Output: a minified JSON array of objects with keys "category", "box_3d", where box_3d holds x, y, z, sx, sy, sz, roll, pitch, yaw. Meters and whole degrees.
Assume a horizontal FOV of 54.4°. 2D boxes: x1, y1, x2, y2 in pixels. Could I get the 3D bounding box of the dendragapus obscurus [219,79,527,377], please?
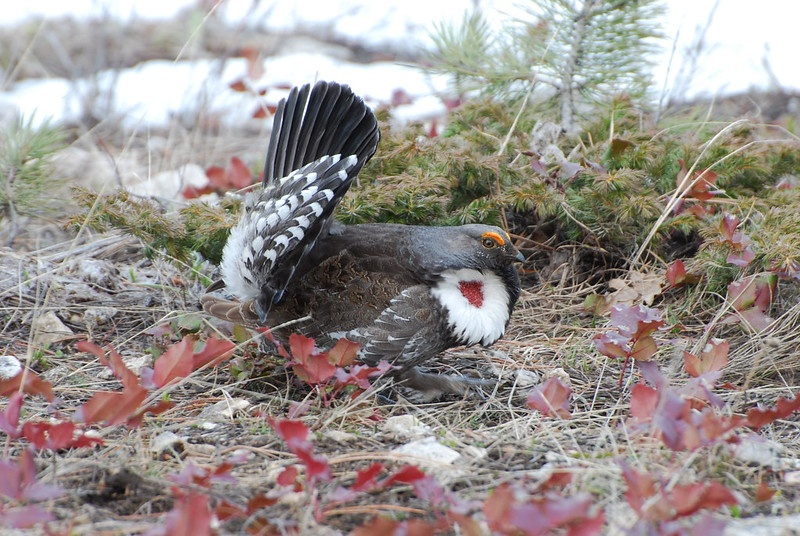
[{"category":"dendragapus obscurus","box_3d":[-0.182,-0.186,4.428,1.694,1.581,0.930,12,24,12]}]
